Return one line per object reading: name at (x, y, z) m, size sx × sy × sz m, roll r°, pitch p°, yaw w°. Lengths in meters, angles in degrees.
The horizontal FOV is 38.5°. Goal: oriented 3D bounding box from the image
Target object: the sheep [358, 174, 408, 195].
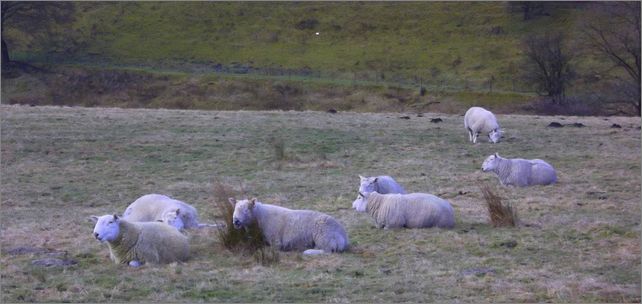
sheep at (6.717, 3.522, 100.079) m, size 5.024 × 2.881 × 1.939 m, roll 2°, pitch -7°, yaw -18°
